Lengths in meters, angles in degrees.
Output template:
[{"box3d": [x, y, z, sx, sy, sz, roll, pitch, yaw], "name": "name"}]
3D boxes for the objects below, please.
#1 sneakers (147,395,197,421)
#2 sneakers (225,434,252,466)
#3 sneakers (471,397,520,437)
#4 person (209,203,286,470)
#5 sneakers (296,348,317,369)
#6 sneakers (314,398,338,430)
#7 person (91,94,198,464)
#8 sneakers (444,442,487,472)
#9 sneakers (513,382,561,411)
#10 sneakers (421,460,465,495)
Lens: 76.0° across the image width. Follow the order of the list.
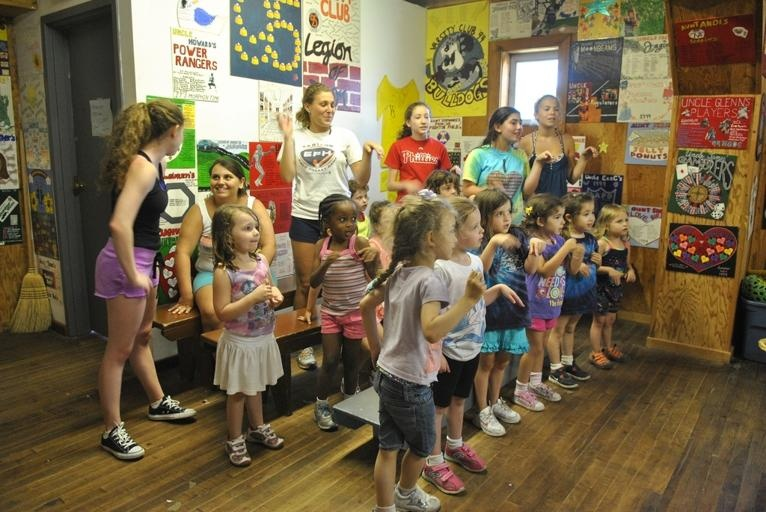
[{"box3d": [-1.548, 1.124, 3.661, 0.427, 0.194, 0.140, 1, 1, -3], "name": "sneakers"}, {"box3d": [-0.942, 1.259, 3.228, 0.101, 0.108, 0.249, -3, 8, -36], "name": "sneakers"}, {"box3d": [0.827, 1.183, 3.579, 0.218, 0.089, 0.276, 5, 10, 31], "name": "sneakers"}, {"box3d": [-0.874, 0.510, 3.126, 0.431, 1.643, 0.356, -6, 14, -20], "name": "person"}, {"box3d": [-0.676, 0.912, 4.388, 0.123, 0.123, 0.313, -1, 1, -24], "name": "sneakers"}, {"box3d": [-0.417, 1.140, 3.541, 0.108, 0.118, 0.268, -6, 6, -29], "name": "sneakers"}, {"box3d": [-1.591, 0.167, 3.215, 0.716, 2.265, 0.471, -13, 18, -40], "name": "person"}, {"box3d": [0.535, 1.293, 3.243, 0.300, 0.130, 0.129, 15, 22, 24], "name": "sneakers"}, {"box3d": [1.181, 1.113, 3.836, 0.238, 0.098, 0.312, 14, 16, 31], "name": "sneakers"}, {"box3d": [0.371, 1.338, 3.061, 0.297, 0.124, 0.125, 14, 21, 30], "name": "sneakers"}]
